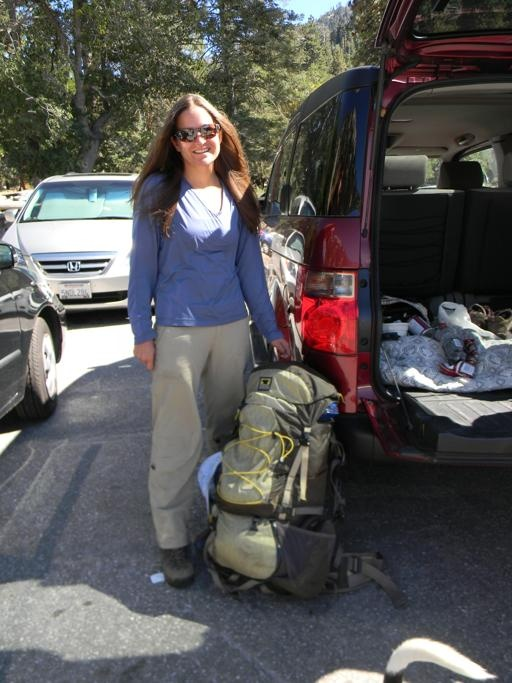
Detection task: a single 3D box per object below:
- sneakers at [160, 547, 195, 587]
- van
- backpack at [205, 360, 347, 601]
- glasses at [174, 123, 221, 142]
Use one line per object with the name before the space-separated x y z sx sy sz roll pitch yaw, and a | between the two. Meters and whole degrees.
sneakers | -0.304 0.845 1.971 0.139 0.125 0.126 1 12 3
van | -2.192 -1.265 6.233 1.527 1.433 2.898 0 13 -1
backpack | 0.039 0.499 1.900 0.539 0.749 0.487 2 11 10
glasses | -0.217 -0.760 1.915 0.165 0.076 0.088 -2 12 -10
